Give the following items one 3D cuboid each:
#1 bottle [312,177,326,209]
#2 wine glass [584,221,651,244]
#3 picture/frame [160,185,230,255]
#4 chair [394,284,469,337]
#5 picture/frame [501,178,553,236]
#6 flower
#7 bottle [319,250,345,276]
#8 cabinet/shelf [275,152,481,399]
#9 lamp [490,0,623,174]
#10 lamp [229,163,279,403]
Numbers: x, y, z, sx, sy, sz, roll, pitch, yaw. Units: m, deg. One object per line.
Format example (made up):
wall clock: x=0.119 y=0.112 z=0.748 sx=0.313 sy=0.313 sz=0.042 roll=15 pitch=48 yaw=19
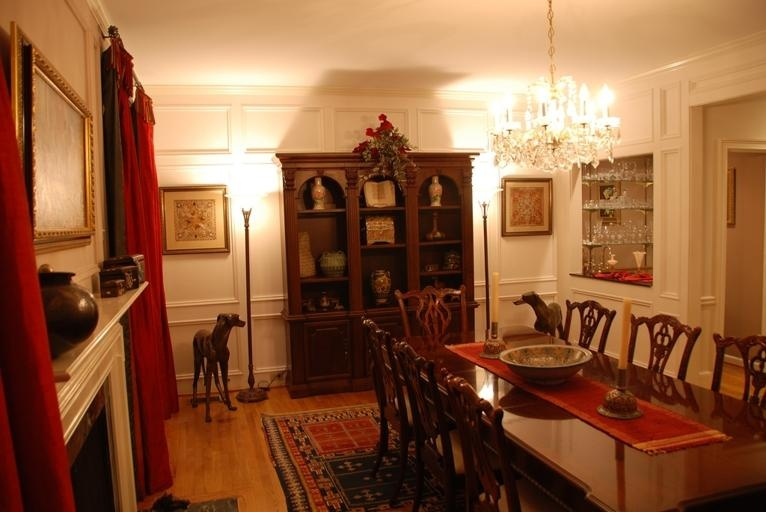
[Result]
bottle: x=-0.722 y=-0.691 z=6.015 sx=0.140 sy=0.343 sz=0.241 roll=-2 pitch=9 yaw=-7
wine glass: x=2.807 y=-0.284 z=6.612 sx=0.745 sy=0.253 sz=0.195 roll=3 pitch=10 yaw=24
picture/frame: x=-2.087 y=-0.418 z=5.970 sx=0.709 sy=0.765 sz=0.072 roll=-1 pitch=3 yaw=-11
chair: x=0.487 y=0.572 z=5.685 sx=0.542 sy=0.632 sz=0.245 roll=-2 pitch=-1 yaw=-28
picture/frame: x=1.795 y=-0.649 z=6.992 sx=0.694 sy=0.751 sz=0.052 roll=-1 pitch=1 yaw=-17
flower: x=0.004 y=-1.134 z=6.001 sx=0.648 sy=0.792 sz=0.271 roll=-1 pitch=9 yaw=3
bottle: x=-0.553 y=0.082 z=6.020 sx=0.262 sy=0.245 sz=0.250 roll=0 pitch=-3 yaw=-8
cabinet/shelf: x=-0.175 y=0.178 z=5.700 sx=2.427 sy=2.900 sz=0.655 roll=-2 pitch=5 yaw=-17
lamp: x=1.555 y=-1.551 z=4.882 sx=1.092 sy=1.700 sz=1.094 roll=4 pitch=8 yaw=39
lamp: x=-1.440 y=0.239 z=5.950 sx=0.366 sy=2.538 sz=0.697 roll=-3 pitch=9 yaw=-12
